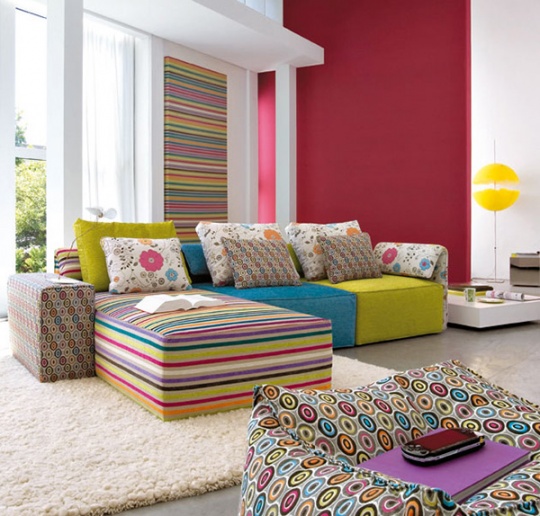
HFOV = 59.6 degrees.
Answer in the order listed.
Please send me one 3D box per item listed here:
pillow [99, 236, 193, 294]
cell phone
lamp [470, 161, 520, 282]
[{"bbox_3d":[-0.880,0.050,3.233,0.481,0.277,0.176,1,-3,-33],"label":"pillow"},{"bbox_3d":[0.317,0.333,0.877,0.134,0.023,0.058,-6,8,-33],"label":"cell phone"},{"bbox_3d":[3.647,-0.620,7.561,0.715,1.936,1.028,2,4,22],"label":"lamp"}]
